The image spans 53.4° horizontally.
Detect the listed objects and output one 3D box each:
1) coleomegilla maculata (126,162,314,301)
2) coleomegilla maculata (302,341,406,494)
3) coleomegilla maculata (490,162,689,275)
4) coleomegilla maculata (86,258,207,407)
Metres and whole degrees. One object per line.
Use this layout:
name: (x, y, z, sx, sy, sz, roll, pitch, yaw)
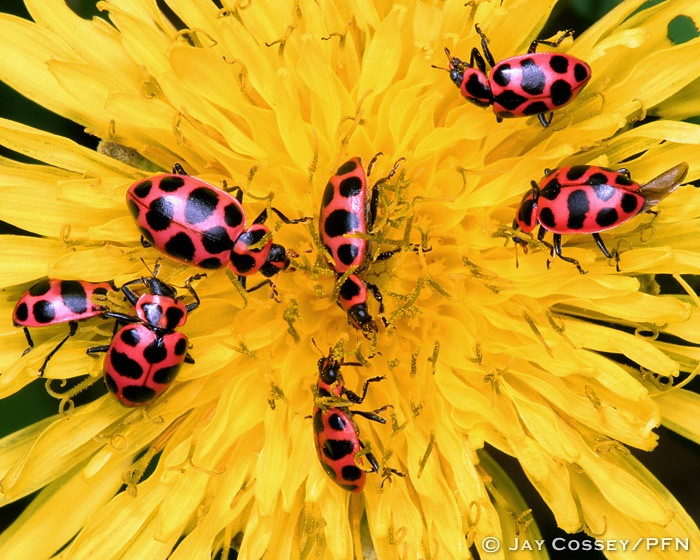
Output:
coleomegilla maculata: (-0.341, -0.131, 1.803, 0.465, 0.139, 0.293, 21, -85, -10)
coleomegilla maculata: (-0.018, 0.380, 1.955, 0.313, 0.125, 0.362, -19, -103, 45)
coleomegilla maculata: (0.621, -0.155, 1.789, 0.385, 0.199, 0.277, 0, -80, 1)
coleomegilla maculata: (-0.508, 0.124, 1.812, 0.292, 0.123, 0.346, 15, -92, -16)
